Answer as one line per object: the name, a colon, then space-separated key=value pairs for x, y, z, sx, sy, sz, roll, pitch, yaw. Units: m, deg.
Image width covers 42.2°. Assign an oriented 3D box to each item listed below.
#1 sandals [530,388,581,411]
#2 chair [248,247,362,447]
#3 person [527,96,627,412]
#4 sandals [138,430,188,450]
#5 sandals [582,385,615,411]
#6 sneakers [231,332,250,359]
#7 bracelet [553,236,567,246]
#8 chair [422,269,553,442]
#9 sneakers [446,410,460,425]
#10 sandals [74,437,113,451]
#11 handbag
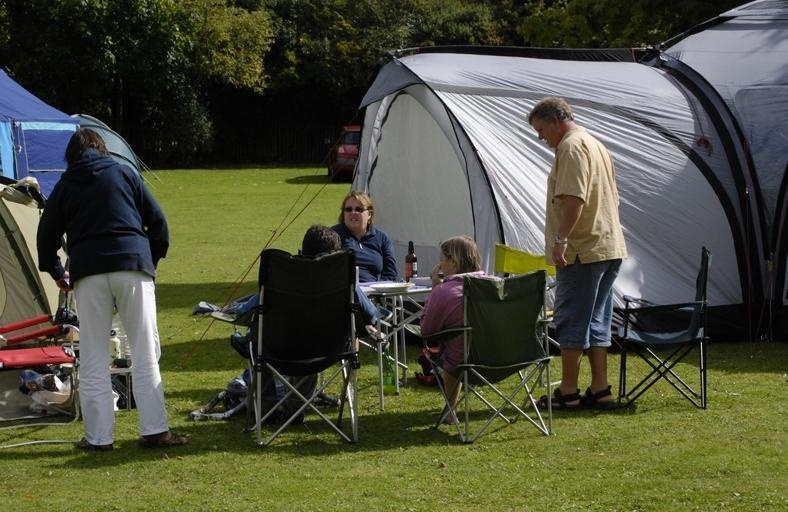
sandals: x=1.566 y=1.363 z=9.812 sx=0.385 sy=0.180 sz=0.201 roll=3 pitch=-4 yaw=5
chair: x=-0.868 y=0.856 z=9.631 sx=1.028 sy=1.773 sz=1.123 roll=0 pitch=-1 yaw=-4
person: x=1.744 y=-0.030 z=9.707 sx=0.835 sy=2.995 sz=0.507 roll=-2 pitch=2 yaw=-2
sandals: x=-2.068 y=1.651 z=9.139 sx=0.445 sy=0.211 sz=0.166 roll=-1 pitch=2 yaw=-15
sandals: x=1.949 y=1.363 z=9.874 sx=0.174 sy=0.141 sz=0.340 roll=-2 pitch=5 yaw=-32
sneakers: x=-1.421 y=0.810 z=9.520 sx=0.188 sy=0.270 sz=0.110 roll=1 pitch=-31 yaw=-30
bracelet: x=1.570 y=-0.147 z=9.543 sx=0.098 sy=0.081 sz=0.191 roll=0 pitch=4 yaw=42
chair: x=0.994 y=0.891 z=9.665 sx=1.018 sy=1.533 sz=1.196 roll=-1 pitch=3 yaw=27
sneakers: x=0.517 y=1.508 z=9.558 sx=0.142 sy=0.121 sz=0.146 roll=3 pitch=-2 yaw=-24
sandals: x=-2.683 y=1.695 z=9.172 sx=0.330 sy=0.156 sz=0.125 roll=8 pitch=-1 yaw=7
handbag: x=-1.073 y=1.292 z=9.627 sx=0.609 sy=0.210 sz=0.619 roll=-1 pitch=8 yaw=-35
